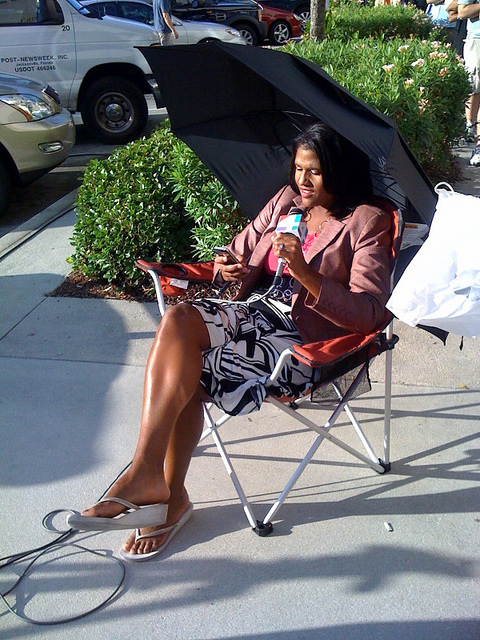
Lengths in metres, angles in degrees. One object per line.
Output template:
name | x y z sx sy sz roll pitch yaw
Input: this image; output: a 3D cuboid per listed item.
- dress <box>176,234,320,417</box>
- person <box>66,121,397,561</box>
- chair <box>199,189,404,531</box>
dress | 0.072 0.079 2.216 0.458 0.335 0.604 8 20 28
person | 0.115 0.001 2.206 0.850 1.374 1.449 2 19 13
chair | 0.178 0.083 2.336 0.815 0.967 0.874 -17 24 -24
